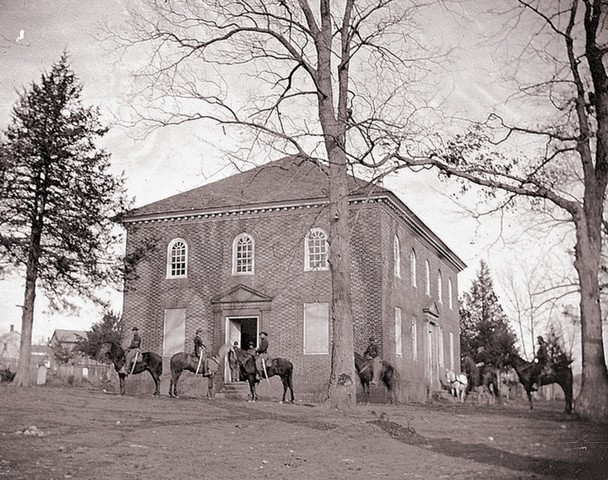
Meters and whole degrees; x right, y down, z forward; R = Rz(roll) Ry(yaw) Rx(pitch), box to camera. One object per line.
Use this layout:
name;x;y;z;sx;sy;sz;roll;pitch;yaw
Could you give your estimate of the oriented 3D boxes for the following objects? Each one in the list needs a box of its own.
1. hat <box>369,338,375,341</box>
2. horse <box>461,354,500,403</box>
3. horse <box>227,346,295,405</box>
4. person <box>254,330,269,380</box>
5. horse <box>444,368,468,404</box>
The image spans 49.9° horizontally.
hat;3.203;4.750;31.037;0.279;0.205;0.298;-5;-6;31
horse;9.883;7.707;35.888;0.835;2.314;3.072;5;-6;-32
horse;-1.847;5.900;28.572;3.006;2.558;0.906;2;-2;-5
person;-1.840;4.946;28.421;0.512;2.042;1.060;0;-15;-4
horse;9.495;9.008;40.210;0.784;2.083;2.797;-14;-18;40
